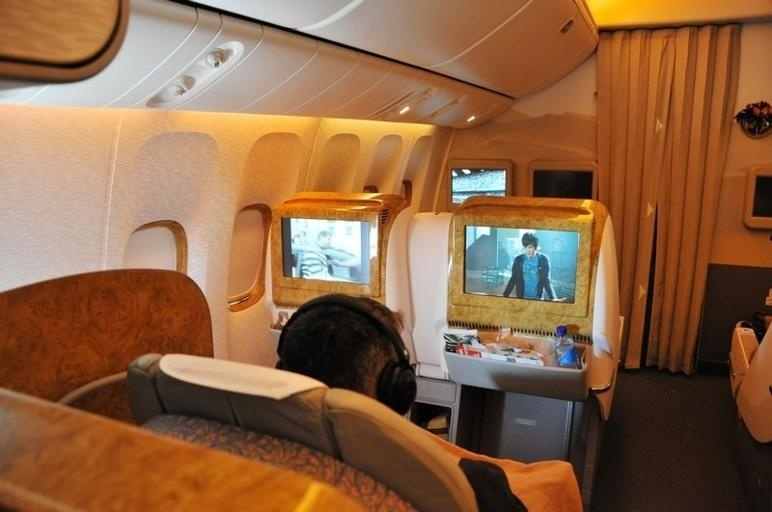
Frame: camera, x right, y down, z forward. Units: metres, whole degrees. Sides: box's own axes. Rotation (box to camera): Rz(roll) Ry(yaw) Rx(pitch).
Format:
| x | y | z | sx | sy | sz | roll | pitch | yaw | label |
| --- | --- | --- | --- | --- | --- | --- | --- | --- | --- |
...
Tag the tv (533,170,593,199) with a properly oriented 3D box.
| x | y | z | sx | sy | sz | roll | pitch | yaw | label |
| --- | --- | --- | --- | --- | --- | --- | --- | --- | --- |
| 1.955 | -0.777 | 5.980 | 0.066 | 0.371 | 0.630 | -12 | 15 | -33 | tv |
